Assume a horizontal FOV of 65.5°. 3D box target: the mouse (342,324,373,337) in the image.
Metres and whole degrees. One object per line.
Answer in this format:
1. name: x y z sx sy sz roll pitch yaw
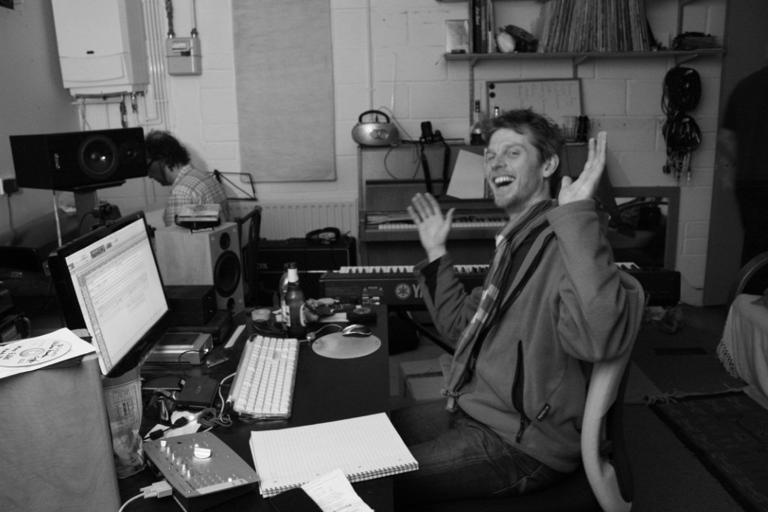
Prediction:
1. mouse: -0.111 0.307 2.502 0.090 0.029 0.055 2 30 13

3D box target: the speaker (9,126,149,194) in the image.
1. speaker: -1.640 -0.504 3.136 0.412 0.302 0.553 2 11 26

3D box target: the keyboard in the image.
1. keyboard: -0.431 0.432 2.259 0.208 0.067 0.447 -1 29 -3

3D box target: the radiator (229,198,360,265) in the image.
1. radiator: -0.620 -0.262 5.476 0.745 0.510 0.414 2 8 6

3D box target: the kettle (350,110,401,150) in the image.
1. kettle: -0.049 -0.999 4.928 0.373 0.291 0.370 -1 3 -45
